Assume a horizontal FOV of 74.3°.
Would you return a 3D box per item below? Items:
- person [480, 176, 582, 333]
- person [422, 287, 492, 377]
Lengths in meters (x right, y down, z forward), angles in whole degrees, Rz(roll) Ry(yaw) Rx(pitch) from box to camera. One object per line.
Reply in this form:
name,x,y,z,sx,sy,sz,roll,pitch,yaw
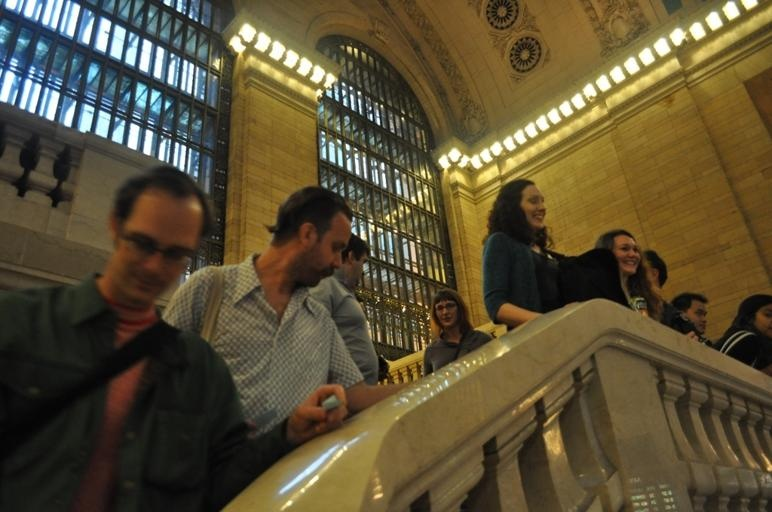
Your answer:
person,0.806,-0.074,2.953,0.471,1.206,0.729,4,-18,12
person,0.589,0.702,4.185,0.529,0.780,0.352,2,-18,18
